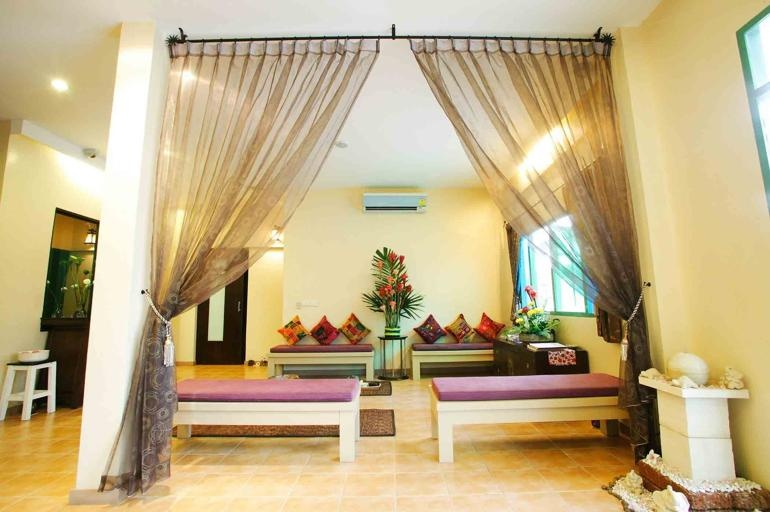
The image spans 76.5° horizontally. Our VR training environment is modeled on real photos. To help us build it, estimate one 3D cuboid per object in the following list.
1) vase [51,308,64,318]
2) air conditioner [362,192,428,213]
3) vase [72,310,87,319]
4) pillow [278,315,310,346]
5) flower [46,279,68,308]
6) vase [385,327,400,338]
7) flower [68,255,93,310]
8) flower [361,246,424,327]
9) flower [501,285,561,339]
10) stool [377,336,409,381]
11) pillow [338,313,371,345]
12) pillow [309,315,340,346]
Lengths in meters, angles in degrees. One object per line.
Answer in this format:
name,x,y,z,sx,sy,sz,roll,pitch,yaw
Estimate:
vase,-4.674,0.808,6.964,0.081,0.140,0.276,-3,8,-16
air conditioner,0.157,-0.949,8.597,1.085,0.339,0.233,-2,8,-7
vase,-4.495,0.855,7.177,0.078,0.128,0.065,-9,-12,31
pillow,-1.573,1.278,8.391,0.485,0.437,0.324,-3,8,-16
flower,-4.688,0.530,6.959,0.272,0.512,0.280,2,-8,-17
vase,0.115,1.258,8.026,0.248,0.156,0.165,-2,8,-5
flower,-4.534,0.414,7.336,0.209,0.882,0.277,-1,7,4
flower,0.105,0.530,8.481,0.792,1.328,0.865,5,10,42
flower,2.062,0.819,6.933,0.719,0.802,0.698,9,-12,-43
stool,0.134,1.647,8.220,0.480,0.785,0.652,-1,7,1
pillow,-0.542,1.227,8.299,0.496,0.470,0.148,-42,-7,-13
pillow,-1.042,1.299,8.341,0.395,0.410,0.122,-43,-15,-14
